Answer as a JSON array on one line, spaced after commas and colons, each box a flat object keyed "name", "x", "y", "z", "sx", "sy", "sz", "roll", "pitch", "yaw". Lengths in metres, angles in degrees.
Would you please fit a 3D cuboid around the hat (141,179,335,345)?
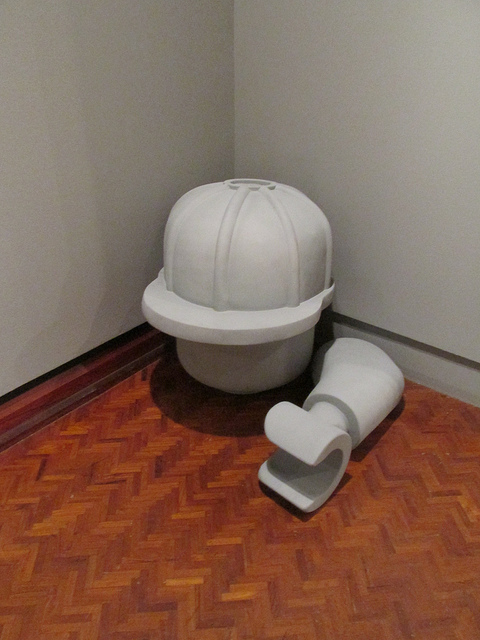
[{"name": "hat", "x": 0.006, "y": -0.333, "z": 3.061, "sx": 1.106, "sy": 0.573, "sz": 0.906, "roll": -11, "pitch": 38, "yaw": -14}]
